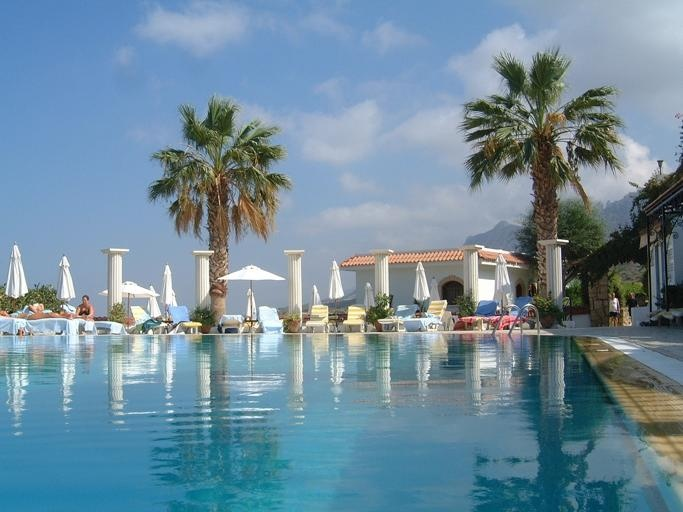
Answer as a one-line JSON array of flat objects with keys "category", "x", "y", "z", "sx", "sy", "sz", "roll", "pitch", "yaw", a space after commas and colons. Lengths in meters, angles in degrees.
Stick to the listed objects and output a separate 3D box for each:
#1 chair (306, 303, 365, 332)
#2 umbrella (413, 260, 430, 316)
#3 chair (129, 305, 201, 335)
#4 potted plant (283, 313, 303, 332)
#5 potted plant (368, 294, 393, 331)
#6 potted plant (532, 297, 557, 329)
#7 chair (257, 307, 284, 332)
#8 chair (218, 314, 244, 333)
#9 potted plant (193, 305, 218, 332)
[{"category": "chair", "x": -0.204, "y": 2.236, "z": 25.141, "sx": 2.144, "sy": 1.012, "sz": 1.937, "roll": -4, "pitch": -9, "yaw": 2}, {"category": "umbrella", "x": 2.890, "y": 1.267, "z": 25.883, "sx": 0.840, "sy": 2.012, "sz": 0.915, "roll": -5, "pitch": 8, "yaw": -14}, {"category": "chair", "x": -6.038, "y": 2.283, "z": 24.083, "sx": 1.890, "sy": 0.763, "sz": 1.168, "roll": -5, "pitch": -7, "yaw": 30}, {"category": "potted plant", "x": -1.721, "y": 2.356, "z": 24.808, "sx": 0.507, "sy": 0.622, "sz": 0.561, "roll": 1, "pitch": -8, "yaw": -7}, {"category": "potted plant", "x": 1.309, "y": 1.970, "z": 24.542, "sx": 0.948, "sy": 1.662, "sz": 1.000, "roll": -1, "pitch": 2, "yaw": 3}, {"category": "potted plant", "x": 6.228, "y": 1.650, "z": 21.712, "sx": 0.805, "sy": 1.026, "sz": 0.844, "roll": -2, "pitch": -2, "yaw": 7}, {"category": "chair", "x": -2.407, "y": 2.121, "z": 23.466, "sx": 0.506, "sy": 0.706, "sz": 1.012, "roll": 0, "pitch": -3, "yaw": -14}, {"category": "chair", "x": -3.681, "y": 2.268, "z": 23.636, "sx": 0.607, "sy": 0.884, "sz": 0.618, "roll": 2, "pitch": -6, "yaw": -21}, {"category": "potted plant", "x": -4.825, "y": 2.231, "z": 24.816, "sx": 0.679, "sy": 0.833, "sz": 0.743, "roll": 0, "pitch": -8, "yaw": -11}]
